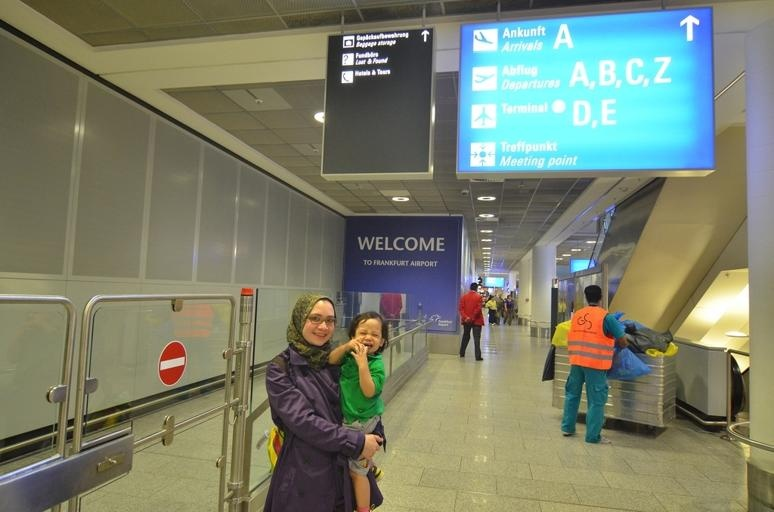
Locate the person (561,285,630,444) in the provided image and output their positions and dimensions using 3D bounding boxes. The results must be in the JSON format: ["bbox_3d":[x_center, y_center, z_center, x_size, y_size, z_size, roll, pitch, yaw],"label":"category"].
[{"bbox_3d":[2.625,1.358,6.035,0.721,1.952,0.494,1,-1,25],"label":"person"}]

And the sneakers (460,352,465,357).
[{"bbox_3d":[1.951,2.564,12.217,0.153,0.144,0.082,0,-18,7],"label":"sneakers"}]
